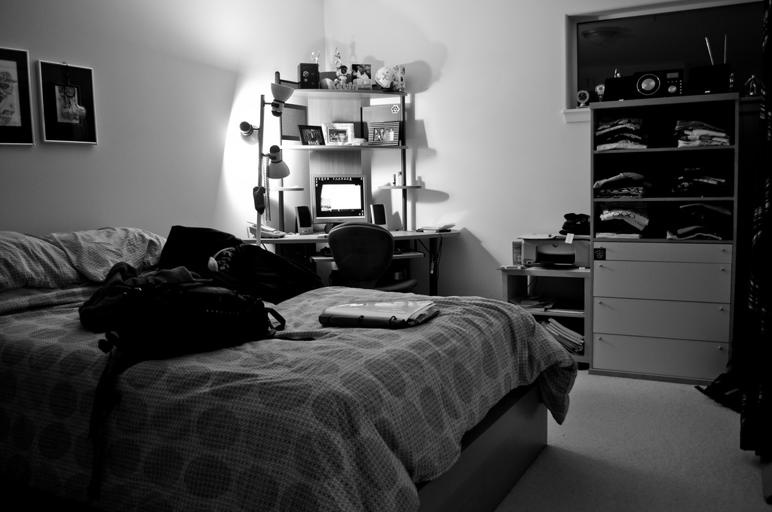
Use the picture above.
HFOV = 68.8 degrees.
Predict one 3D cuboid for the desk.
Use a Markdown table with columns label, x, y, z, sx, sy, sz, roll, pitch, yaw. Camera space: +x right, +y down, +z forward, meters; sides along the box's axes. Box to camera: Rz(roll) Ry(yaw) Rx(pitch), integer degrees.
| label | x | y | z | sx | sy | sz | roll | pitch | yaw |
| --- | --- | --- | --- | --- | --- | --- | --- | --- | --- |
| desk | -0.158 | 0.179 | 5.329 | 1.671 | 0.873 | 0.843 | -2 | 9 | 8 |

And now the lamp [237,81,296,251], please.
| label | x | y | z | sx | sy | sz | roll | pitch | yaw |
| --- | --- | --- | --- | --- | --- | --- | --- | --- | --- |
| lamp | -0.981 | -0.801 | 4.765 | 0.445 | 1.311 | 0.933 | -5 | 13 | -12 |

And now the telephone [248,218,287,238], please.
| label | x | y | z | sx | sy | sz | roll | pitch | yaw |
| --- | --- | --- | --- | --- | --- | --- | --- | --- | --- |
| telephone | -1.037 | -0.230 | 4.795 | 0.226 | 0.093 | 0.171 | 1 | 7 | 7 |

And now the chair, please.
| label | x | y | z | sx | sy | sz | roll | pitch | yaw |
| --- | --- | --- | --- | --- | --- | --- | --- | --- | --- |
| chair | -0.095 | -0.076 | 4.304 | 0.548 | 0.607 | 0.537 | 3 | 11 | 7 |

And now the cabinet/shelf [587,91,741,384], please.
| label | x | y | z | sx | sy | sz | roll | pitch | yaw |
| --- | --- | --- | --- | --- | --- | --- | --- | --- | --- |
| cabinet/shelf | 2.068 | -0.105 | 4.197 | 0.968 | 2.067 | 0.607 | 2 | 14 | 30 |

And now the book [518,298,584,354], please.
| label | x | y | z | sx | sy | sz | roll | pitch | yaw |
| --- | --- | --- | --- | --- | --- | --- | --- | --- | --- |
| book | 1.313 | 0.569 | 4.455 | 0.448 | 0.142 | 0.338 | 14 | 6 | 39 |

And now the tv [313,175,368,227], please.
| label | x | y | z | sx | sy | sz | roll | pitch | yaw |
| --- | --- | --- | --- | --- | --- | --- | --- | --- | --- |
| tv | -0.458 | -0.507 | 5.189 | 0.497 | 0.452 | 0.069 | -1 | 1 | -8 |

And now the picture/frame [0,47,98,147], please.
| label | x | y | z | sx | sy | sz | roll | pitch | yaw |
| --- | --- | --- | --- | --- | --- | --- | --- | --- | --- |
| picture/frame | -2.217 | -1.034 | 3.649 | 0.069 | 0.514 | 0.700 | 3 | 6 | 35 |

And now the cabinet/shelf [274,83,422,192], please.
| label | x | y | z | sx | sy | sz | roll | pitch | yaw |
| --- | --- | --- | --- | --- | --- | --- | --- | --- | --- |
| cabinet/shelf | -0.381 | -1.125 | 5.228 | 0.974 | 0.955 | 0.307 | 0 | 2 | -2 |
